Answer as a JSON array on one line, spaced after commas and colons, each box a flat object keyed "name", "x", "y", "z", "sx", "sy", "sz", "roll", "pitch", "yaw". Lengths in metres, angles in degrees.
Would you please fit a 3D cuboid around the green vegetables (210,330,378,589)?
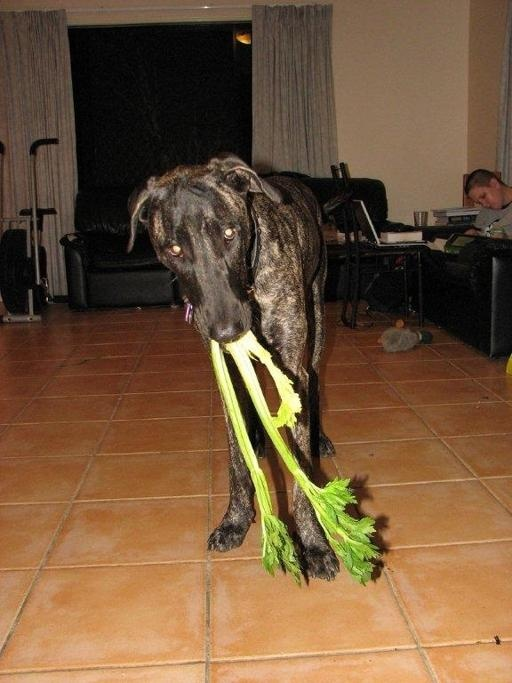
[{"name": "green vegetables", "x": 0.072, "y": 0.249, "z": 1.222, "sx": 0.398, "sy": 0.550, "sz": 0.351, "roll": 10, "pitch": 17, "yaw": 13}]
